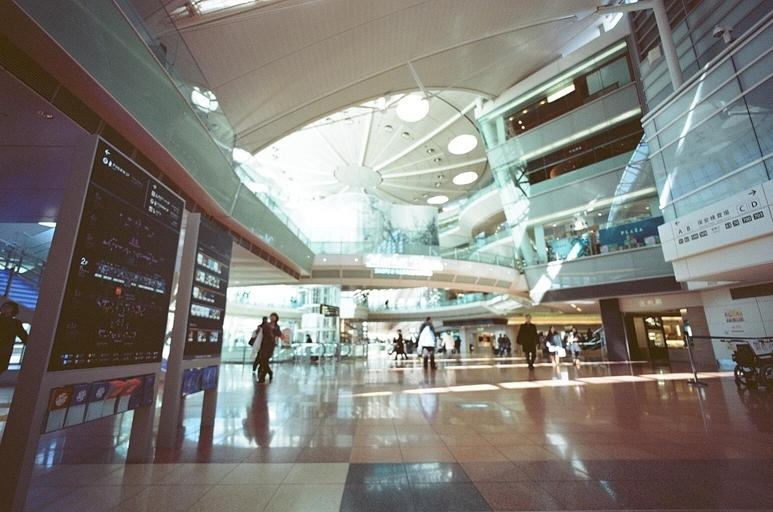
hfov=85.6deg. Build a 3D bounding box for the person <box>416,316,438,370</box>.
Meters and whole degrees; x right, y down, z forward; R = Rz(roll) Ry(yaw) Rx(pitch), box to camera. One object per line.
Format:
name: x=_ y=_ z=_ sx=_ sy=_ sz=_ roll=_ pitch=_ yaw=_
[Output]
person: x=1.479 y=3.209 z=15.224 sx=0.826 sy=1.929 sz=0.661 roll=-23 pitch=-33 yaw=30
